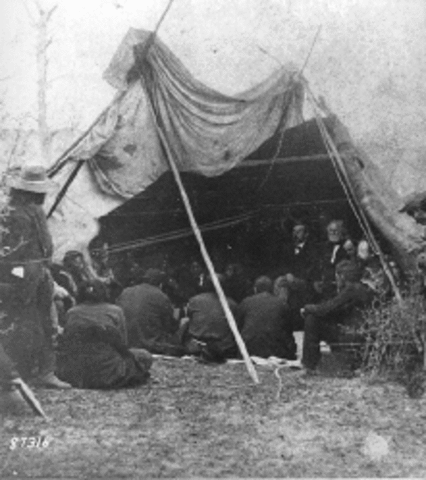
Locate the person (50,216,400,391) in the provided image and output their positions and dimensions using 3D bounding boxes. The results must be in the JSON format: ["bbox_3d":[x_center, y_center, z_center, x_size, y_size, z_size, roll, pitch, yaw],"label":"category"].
[{"bbox_3d":[0.419,0.494,4.851,2.240,1.304,0.505,1,15,3],"label":"person"}]

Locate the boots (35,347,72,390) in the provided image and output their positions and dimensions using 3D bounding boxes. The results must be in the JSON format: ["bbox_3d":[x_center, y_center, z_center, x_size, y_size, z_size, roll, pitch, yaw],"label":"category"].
[{"bbox_3d":[-1.553,1.263,4.910,0.352,0.155,0.454,9,53,-11],"label":"boots"}]

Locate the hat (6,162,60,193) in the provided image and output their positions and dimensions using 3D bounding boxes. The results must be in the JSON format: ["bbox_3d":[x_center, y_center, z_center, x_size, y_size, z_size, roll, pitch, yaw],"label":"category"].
[{"bbox_3d":[-1.870,-0.620,5.128,0.321,0.138,0.363,8,55,-15],"label":"hat"}]
